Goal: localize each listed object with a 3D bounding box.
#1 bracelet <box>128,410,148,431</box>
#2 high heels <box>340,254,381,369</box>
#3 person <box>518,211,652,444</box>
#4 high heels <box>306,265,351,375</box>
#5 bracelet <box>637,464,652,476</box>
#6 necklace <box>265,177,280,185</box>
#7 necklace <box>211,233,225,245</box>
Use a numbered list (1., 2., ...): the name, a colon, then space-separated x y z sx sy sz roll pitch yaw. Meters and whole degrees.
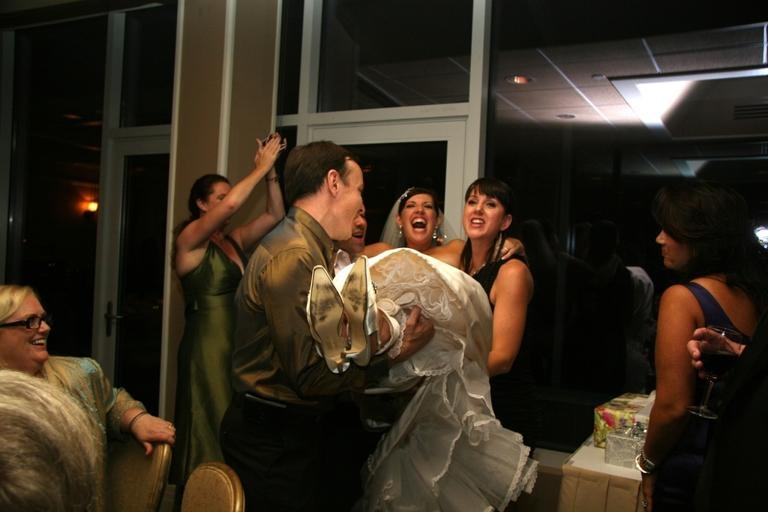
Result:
1. bracelet: -1.098 0.743 3.018 0.049 0.091 0.079 4 0 36
2. high heels: -0.059 0.193 2.329 0.120 0.377 0.149 0 -5 17
3. person: 1.131 0.446 3.892 1.128 1.102 0.262 2 0 39
4. high heels: -0.177 0.233 2.414 0.120 0.378 0.180 -5 10 7
5. bracelet: 1.157 0.954 2.972 0.069 0.031 0.068 26 -11 -26
6. necklace: -0.728 -0.491 4.382 0.064 0.021 0.069 -4 -6 42
7. necklace: -1.031 -0.104 4.200 0.065 0.062 0.041 24 5 3
